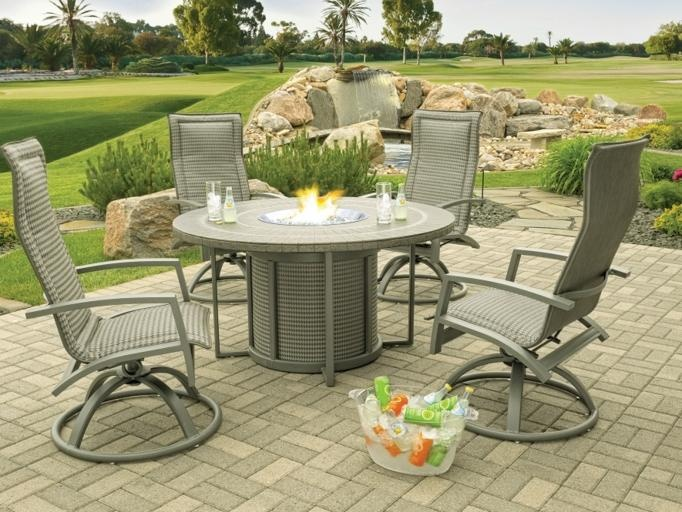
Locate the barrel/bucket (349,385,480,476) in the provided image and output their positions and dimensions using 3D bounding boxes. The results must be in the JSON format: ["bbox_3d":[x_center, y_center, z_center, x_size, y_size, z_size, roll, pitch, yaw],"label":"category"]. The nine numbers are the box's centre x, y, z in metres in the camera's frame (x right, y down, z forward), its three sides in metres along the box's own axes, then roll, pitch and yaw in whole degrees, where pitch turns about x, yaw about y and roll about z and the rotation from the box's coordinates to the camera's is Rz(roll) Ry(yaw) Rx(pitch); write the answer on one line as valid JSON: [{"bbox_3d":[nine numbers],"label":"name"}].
[{"bbox_3d":[0.416,1.015,2.879,0.862,0.299,0.447,5,9,23],"label":"barrel/bucket"}]

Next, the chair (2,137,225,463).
[{"bbox_3d":[-1.319,0.263,2.976,1.001,1.783,1.114,-8,25,-13],"label":"chair"}]

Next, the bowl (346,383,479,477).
[{"bbox_3d":[0.391,0.926,2.852,0.658,0.317,0.472,4,4,27],"label":"bowl"}]

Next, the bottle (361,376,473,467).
[{"bbox_3d":[0.370,0.899,2.843,0.645,0.296,0.424,2,6,15],"label":"bottle"}]

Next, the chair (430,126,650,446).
[{"bbox_3d":[1.238,0.217,3.017,1.209,1.736,0.800,-12,27,-21],"label":"chair"}]
